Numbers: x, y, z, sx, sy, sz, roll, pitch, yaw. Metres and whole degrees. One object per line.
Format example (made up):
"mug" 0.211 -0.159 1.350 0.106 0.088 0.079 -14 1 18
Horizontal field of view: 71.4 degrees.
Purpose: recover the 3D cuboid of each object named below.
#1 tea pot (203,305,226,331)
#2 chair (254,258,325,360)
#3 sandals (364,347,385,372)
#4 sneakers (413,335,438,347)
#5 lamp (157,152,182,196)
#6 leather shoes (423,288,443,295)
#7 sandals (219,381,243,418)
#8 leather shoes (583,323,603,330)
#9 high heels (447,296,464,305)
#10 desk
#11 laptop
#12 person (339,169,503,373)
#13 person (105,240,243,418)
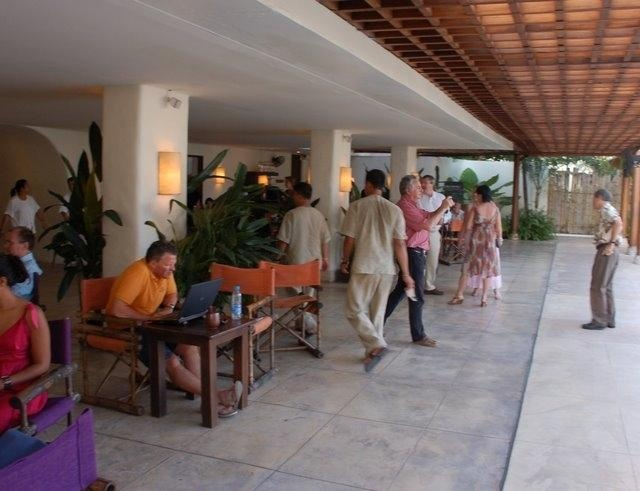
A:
"tea pot" -0.717 0.519 3.129 0.148 0.152 0.179 1 -7 -9
"chair" -0.225 0.647 4.900 0.899 1.042 0.952 0 -2 1
"sandals" 0.503 1.045 4.132 0.109 0.293 0.091 47 5 21
"sneakers" 1.113 1.029 4.811 0.316 0.109 0.096 -4 -1 22
"lamp" -1.728 -0.829 5.149 0.128 0.504 0.326 5 9 23
"leather shoes" 1.854 0.766 7.323 0.417 0.131 0.126 0 1 -2
"sandals" -0.649 1.118 3.210 0.134 0.295 0.119 19 17 38
"leather shoes" 3.355 0.999 5.515 0.268 0.089 0.088 3 -1 8
"high heels" 2.040 0.832 6.671 0.201 0.069 0.106 1 -2 -23
"desk" -0.815 0.845 3.360 0.830 0.700 0.830 1 2 22
"laptop" -0.957 0.382 3.204 0.356 0.223 0.366 0 4 20
"person" 0.684 0.183 4.364 1.053 1.831 0.642 -7 12 -44
"person" -1.069 0.574 3.377 1.291 1.091 0.623 13 11 23
